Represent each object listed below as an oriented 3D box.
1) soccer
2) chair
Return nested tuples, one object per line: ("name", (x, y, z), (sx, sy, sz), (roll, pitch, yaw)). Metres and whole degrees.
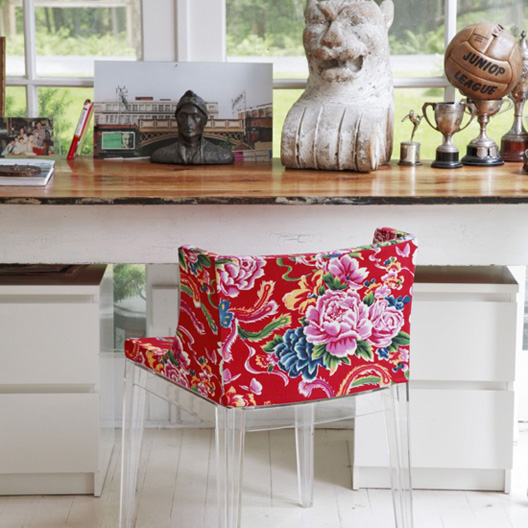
("soccer", (0.629, -0.595, 2.015), (0.233, 0.214, 0.139), (3, 21, 11))
("chair", (-0.006, 0.262, 1.461), (0.529, 0.720, 0.530), (-1, 9, -5))
